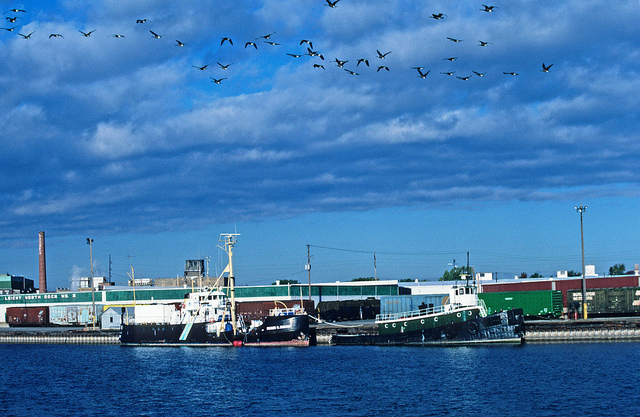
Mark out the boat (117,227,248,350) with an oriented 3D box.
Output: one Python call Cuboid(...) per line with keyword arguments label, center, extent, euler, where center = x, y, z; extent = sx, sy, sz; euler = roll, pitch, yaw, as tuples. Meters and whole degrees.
Cuboid(label="boat", center=(-23.853, 14.997, 196.621), extent=(22.957, 17.634, 7.361), euler=(-3, -2, 17))
